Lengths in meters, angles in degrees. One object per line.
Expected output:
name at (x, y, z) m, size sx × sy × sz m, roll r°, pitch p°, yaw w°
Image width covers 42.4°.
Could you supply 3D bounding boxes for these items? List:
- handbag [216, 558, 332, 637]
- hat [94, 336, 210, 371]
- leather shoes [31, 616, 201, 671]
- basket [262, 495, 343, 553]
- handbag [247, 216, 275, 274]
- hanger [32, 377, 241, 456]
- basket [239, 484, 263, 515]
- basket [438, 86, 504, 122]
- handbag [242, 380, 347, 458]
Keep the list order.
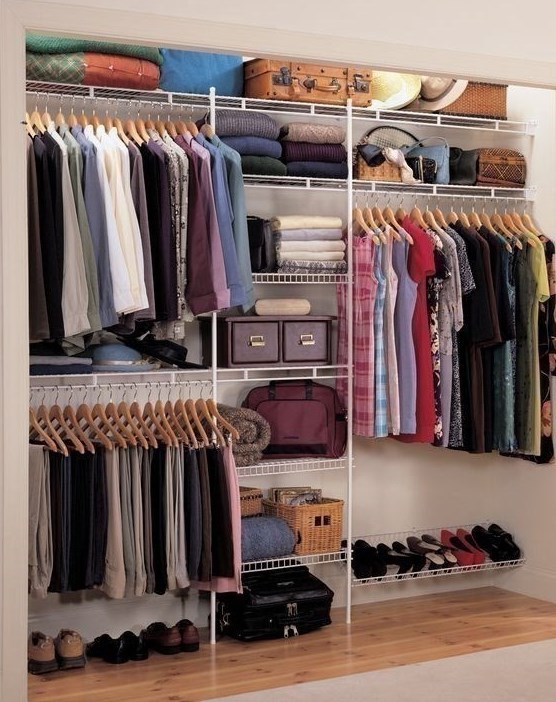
handbag at (-0.016, 1.054, 2.990) m, size 0.454 × 0.242 × 0.225 m, roll 2°, pitch -6°, yaw -29°
hat at (-0.503, -0.003, 2.860) m, size 0.186 × 0.080 × 0.246 m, roll 0°, pitch 12°, yaw -43°
leather shoes at (-0.621, 1.102, 2.748) m, size 0.635 × 0.128 × 0.202 m, roll 1°, pitch -5°, yaw -22°
basket at (0.166, 0.761, 3.250) m, size 0.231 × 0.217 × 0.333 m, roll -1°, pitch 1°, yaw 6°
handbag at (-0.086, -0.475, 3.126) m, size 0.119 × 0.227 × 0.208 m, roll -12°, pitch 18°, yaw -33°
hanger at (-0.567, 0.274, 2.775) m, size 0.494 × 0.171 × 0.358 m, roll -2°, pitch 4°, yaw -21°
basket at (-0.122, 0.652, 3.139) m, size 0.101 × 0.086 × 0.103 m, roll -1°, pitch -1°, yaw -29°
basket at (0.993, -1.238, 3.580) m, size 0.214 × 0.146 × 0.222 m, roll -2°, pitch 10°, yaw -19°
handbag at (0.063, 0.309, 3.162) m, size 0.319 × 0.263 × 0.129 m, roll 0°, pitch 1°, yaw -14°
